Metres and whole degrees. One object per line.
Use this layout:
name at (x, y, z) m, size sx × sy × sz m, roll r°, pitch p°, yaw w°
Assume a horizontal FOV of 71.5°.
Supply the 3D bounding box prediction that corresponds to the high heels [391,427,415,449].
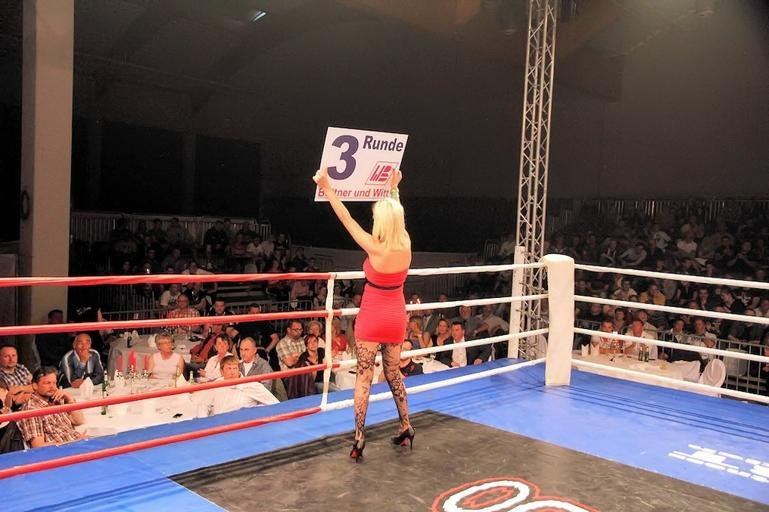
high heels at (0.182, 1.642, 4.934) m, size 0.218 × 0.185 × 0.148 m, roll 0°, pitch 12°, yaw -14°

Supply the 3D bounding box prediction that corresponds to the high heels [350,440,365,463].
high heels at (-0.241, 1.712, 4.708) m, size 0.075 × 0.231 × 0.096 m, roll -2°, pitch -5°, yaw 35°
